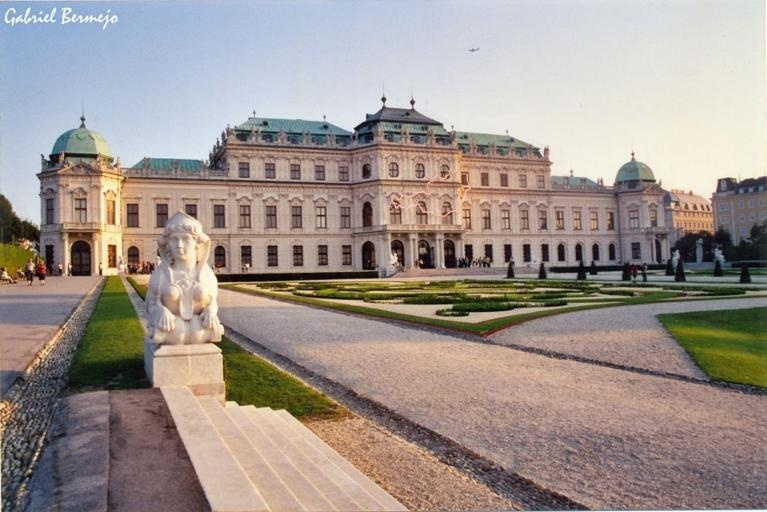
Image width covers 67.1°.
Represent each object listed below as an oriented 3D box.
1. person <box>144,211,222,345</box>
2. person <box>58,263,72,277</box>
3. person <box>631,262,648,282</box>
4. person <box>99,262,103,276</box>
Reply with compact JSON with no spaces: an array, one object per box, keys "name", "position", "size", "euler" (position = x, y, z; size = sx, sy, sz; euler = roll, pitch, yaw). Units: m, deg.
[{"name":"person","position":[-2.703,0.297,7.745],"size":[0.855,1.654,0.819],"euler":[-4,16,-21]},{"name":"person","position":[-22.728,1.027,41.123],"size":[0.899,0.845,0.831],"euler":[2,5,10]},{"name":"person","position":[16.602,1.062,37.303],"size":[1.148,1.011,1.065],"euler":[-2,3,7]},{"name":"person","position":[-20.441,0.882,41.652],"size":[0.211,0.747,0.644],"euler":[-4,15,-24]}]
